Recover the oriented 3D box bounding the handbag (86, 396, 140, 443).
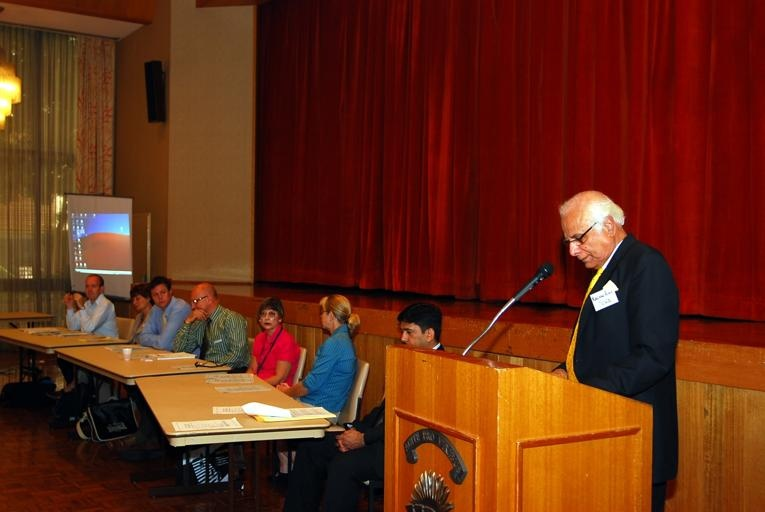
[{"bbox_3d":[-2.388,1.410,5.372,0.345,0.384,0.324,-6,9,-31],"label":"handbag"}]

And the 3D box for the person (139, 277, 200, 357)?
[{"bbox_3d":[-2.114,0.611,5.986,0.519,1.019,0.434,13,-20,-43],"label":"person"}]

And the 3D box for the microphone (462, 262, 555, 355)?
[{"bbox_3d":[1.007,0.405,4.766,0.137,0.870,0.091,7,37,-42],"label":"microphone"}]

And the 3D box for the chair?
[{"bbox_3d":[-0.934,1.141,4.332,0.822,1.133,1.091,8,-11,-27],"label":"chair"}]

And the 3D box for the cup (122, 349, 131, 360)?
[{"bbox_3d":[-2.046,0.766,4.820,0.073,0.084,0.075,1,-11,0],"label":"cup"}]

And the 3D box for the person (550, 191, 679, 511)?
[{"bbox_3d":[1.038,0.427,2.726,0.555,1.439,0.512,3,3,27],"label":"person"}]

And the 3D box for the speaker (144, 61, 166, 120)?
[{"bbox_3d":[-3.348,-2.387,8.914,0.363,0.885,0.160,4,4,34],"label":"speaker"}]

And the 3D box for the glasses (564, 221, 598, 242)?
[{"bbox_3d":[0.895,-0.104,2.747,0.091,0.028,0.089,-41,7,-9],"label":"glasses"}]
